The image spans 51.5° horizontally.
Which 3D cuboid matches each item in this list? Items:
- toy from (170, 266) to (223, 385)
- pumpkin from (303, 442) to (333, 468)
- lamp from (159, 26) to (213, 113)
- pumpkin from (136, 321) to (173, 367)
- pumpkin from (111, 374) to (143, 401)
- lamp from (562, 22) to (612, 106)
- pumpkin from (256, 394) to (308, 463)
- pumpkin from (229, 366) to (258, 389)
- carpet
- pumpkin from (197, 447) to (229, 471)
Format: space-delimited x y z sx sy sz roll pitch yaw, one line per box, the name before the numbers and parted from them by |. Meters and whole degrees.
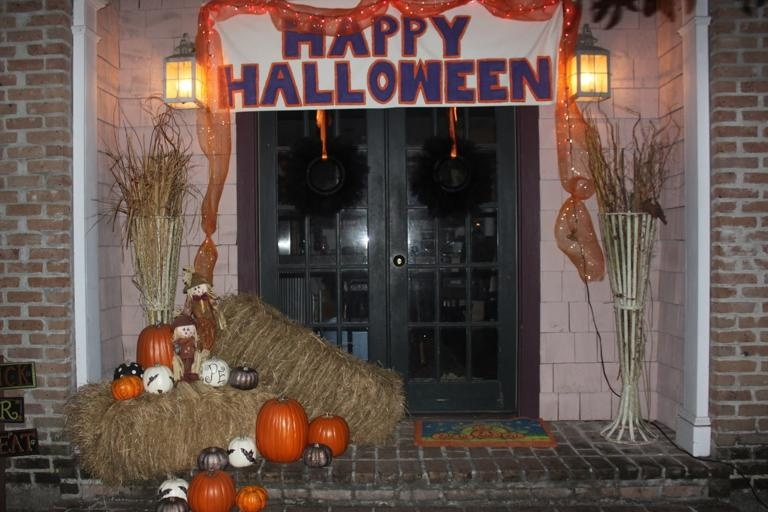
toy | -1.496 0.548 6.438 0.401 0.881 0.152 1 -5 -17
pumpkin | -0.515 1.552 6.210 0.178 0.157 0.176 8 -8 -42
lamp | -1.676 -1.552 6.806 0.290 0.700 0.418 0 0 1
pumpkin | -1.802 0.722 6.526 0.329 0.424 0.322 -1 -6 3
pumpkin | -1.990 1.009 6.148 0.179 0.183 0.186 0 -8 -4
lamp | 1.744 -1.653 6.821 0.361 0.643 0.261 -1 -5 10
pumpkin | -0.829 1.389 6.462 0.453 0.583 0.450 1 -4 -12
pumpkin | -1.119 0.956 6.373 0.173 0.164 0.179 3 1 21
carpet | 0.843 1.478 6.713 1.150 0.178 0.510 -1 -5 2
pumpkin | -1.299 1.534 6.070 0.181 0.177 0.184 3 1 -23
